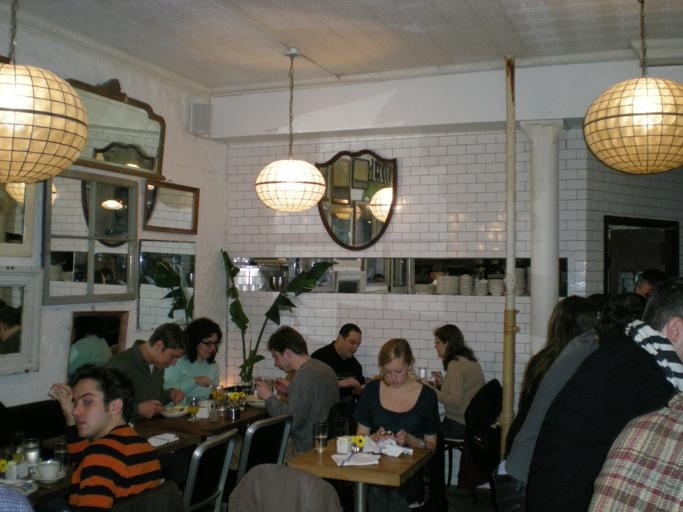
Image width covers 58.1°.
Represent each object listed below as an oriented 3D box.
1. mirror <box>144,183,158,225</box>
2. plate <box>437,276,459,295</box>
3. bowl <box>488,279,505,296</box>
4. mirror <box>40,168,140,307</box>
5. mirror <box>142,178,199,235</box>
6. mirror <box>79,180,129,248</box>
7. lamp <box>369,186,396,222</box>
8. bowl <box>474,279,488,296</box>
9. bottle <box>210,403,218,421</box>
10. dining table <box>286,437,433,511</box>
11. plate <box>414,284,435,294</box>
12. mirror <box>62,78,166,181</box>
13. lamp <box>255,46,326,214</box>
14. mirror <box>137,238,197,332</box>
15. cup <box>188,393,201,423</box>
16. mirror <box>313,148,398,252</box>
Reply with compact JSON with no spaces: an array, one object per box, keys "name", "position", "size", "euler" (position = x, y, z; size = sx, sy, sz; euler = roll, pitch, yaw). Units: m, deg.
[{"name":"mirror","position":[-1.819,-0.497,5.863],"size":[0.039,0.394,0.162],"euler":[-1,-2,24]},{"name":"plate","position":[1.045,0.293,6.145],"size":[0.180,0.163,0.186],"euler":[0,-2,9]},{"name":"bowl","position":[1.491,0.302,5.936],"size":[0.143,0.150,0.146],"euler":[0,5,0]},{"name":"mirror","position":[-2.137,-0.144,5.131],"size":[0.084,1.246,1.159],"euler":[-3,-5,23]},{"name":"mirror","position":[-1.718,-0.490,6.057],"size":[0.045,0.430,0.592],"euler":[0,-1,28]},{"name":"mirror","position":[-2.080,-0.361,5.321],"size":[0.071,0.744,0.582],"euler":[-2,-3,22]},{"name":"lamp","position":[0.415,-0.534,6.464],"size":[0.295,0.341,0.305],"euler":[4,5,21]},{"name":"bowl","position":[1.363,0.303,5.988],"size":[0.115,0.163,0.062],"euler":[0,-2,11]},{"name":"bottle","position":[-0.986,1.211,4.747],"size":[0.061,0.110,0.093],"euler":[2,2,4]},{"name":"dining table","position":[0.171,1.197,3.997],"size":[0.607,0.611,0.627],"euler":[-2,-7,28]},{"name":"plate","position":[0.837,0.332,6.173],"size":[0.194,0.100,0.045],"euler":[-1,-2,29]},{"name":"mirror","position":[-1.907,-1.042,5.098],"size":[0.083,0.856,1.194],"euler":[8,3,26]},{"name":"lamp","position":[-0.523,-1.090,5.746],"size":[0.589,1.372,1.031],"euler":[0,-2,-13]},{"name":"mirror","position":[-1.701,0.282,5.868],"size":[0.043,0.966,0.834],"euler":[-3,-5,26]},{"name":"cup","position":[-1.133,1.188,4.721],"size":[0.128,0.213,0.134],"euler":[3,-1,0]},{"name":"mirror","position":[0.181,-0.585,6.335],"size":[1.010,1.320,0.061],"euler":[2,2,28]}]
